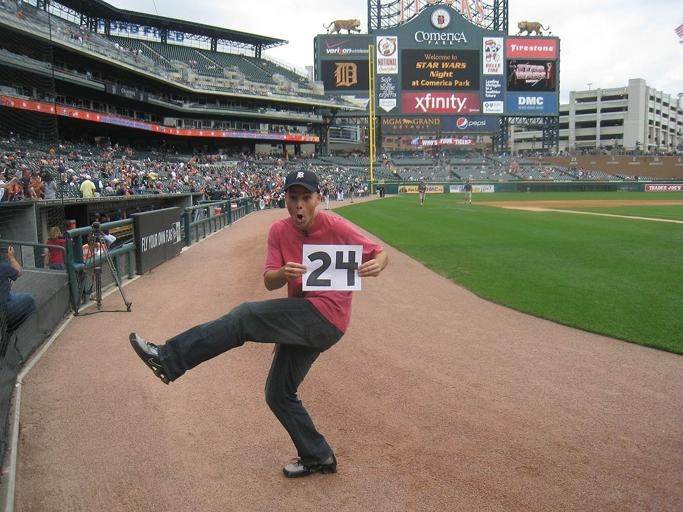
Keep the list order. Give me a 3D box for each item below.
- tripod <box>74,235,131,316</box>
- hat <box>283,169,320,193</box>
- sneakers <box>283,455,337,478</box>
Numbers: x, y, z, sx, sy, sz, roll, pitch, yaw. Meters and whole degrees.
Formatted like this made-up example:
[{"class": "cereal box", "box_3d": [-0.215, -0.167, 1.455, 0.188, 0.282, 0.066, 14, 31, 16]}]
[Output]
[{"class": "tripod", "box_3d": [-4.054, 0.293, 9.081, 1.057, 1.710, 1.292, 3, -3, -36]}, {"class": "hat", "box_3d": [-0.322, -0.607, 4.286, 0.291, 0.176, 0.256, -2, 13, -7]}, {"class": "sneakers", "box_3d": [-0.260, 1.776, 4.412, 0.438, 0.225, 0.179, 4, -4, -7]}]
